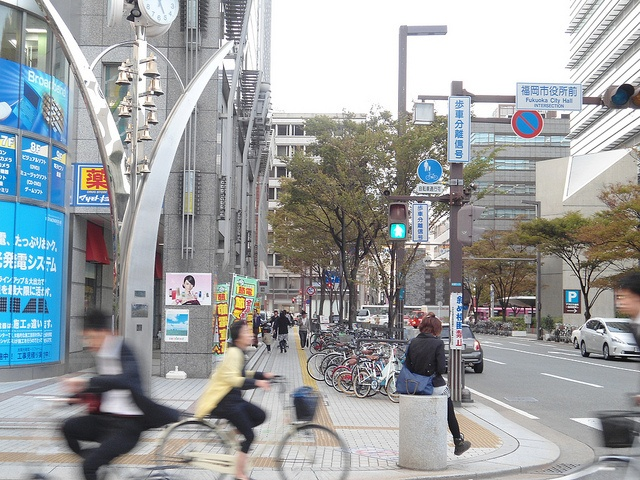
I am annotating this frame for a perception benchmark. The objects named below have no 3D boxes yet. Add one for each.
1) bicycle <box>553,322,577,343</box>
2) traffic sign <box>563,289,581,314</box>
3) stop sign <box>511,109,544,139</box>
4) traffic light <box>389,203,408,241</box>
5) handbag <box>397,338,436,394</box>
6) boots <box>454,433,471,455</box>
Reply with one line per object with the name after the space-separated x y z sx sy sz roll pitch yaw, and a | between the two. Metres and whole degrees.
14.455 5.685 43.969 1.518 0.978 0.759 -2 -4 43 | bicycle
15.907 3.952 46.252 1.366 2.039 0.246 2 -11 18 | traffic sign
4.750 -2.692 16.863 0.676 0.766 0.587 -2 -8 15 | stop sign
2.112 -0.483 19.526 0.478 1.032 0.405 0 -8 7 | traffic light
1.651 2.346 12.921 0.661 0.945 0.363 8 -24 10 | handbag
2.595 3.708 13.275 0.169 0.372 0.442 9 24 36 | boots
